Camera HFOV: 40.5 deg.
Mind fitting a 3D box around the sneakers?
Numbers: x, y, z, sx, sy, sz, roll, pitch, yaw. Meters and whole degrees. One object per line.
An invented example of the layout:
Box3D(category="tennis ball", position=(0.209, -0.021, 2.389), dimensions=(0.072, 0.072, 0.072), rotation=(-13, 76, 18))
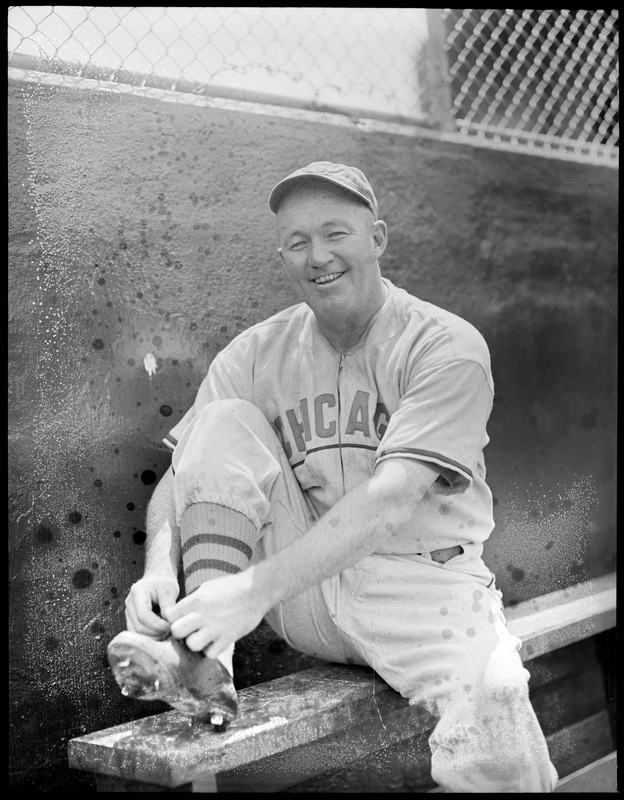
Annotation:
Box3D(category="sneakers", position=(-0.192, 0.396, 1.236), dimensions=(0.207, 0.100, 0.106), rotation=(23, 23, 19))
